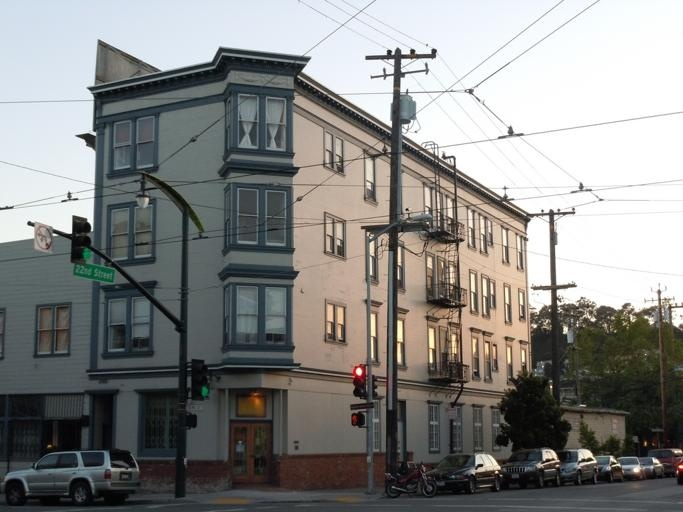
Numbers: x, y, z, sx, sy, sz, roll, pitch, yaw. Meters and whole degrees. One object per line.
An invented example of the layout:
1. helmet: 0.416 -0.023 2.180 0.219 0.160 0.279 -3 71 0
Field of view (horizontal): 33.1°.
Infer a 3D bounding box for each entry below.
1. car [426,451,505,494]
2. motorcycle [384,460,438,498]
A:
1. car: 6.160 10.585 55.848 2.181 1.831 4.650 -9 -15 36
2. motorcycle: 3.151 10.371 52.871 2.367 1.506 1.351 -2 -13 4
